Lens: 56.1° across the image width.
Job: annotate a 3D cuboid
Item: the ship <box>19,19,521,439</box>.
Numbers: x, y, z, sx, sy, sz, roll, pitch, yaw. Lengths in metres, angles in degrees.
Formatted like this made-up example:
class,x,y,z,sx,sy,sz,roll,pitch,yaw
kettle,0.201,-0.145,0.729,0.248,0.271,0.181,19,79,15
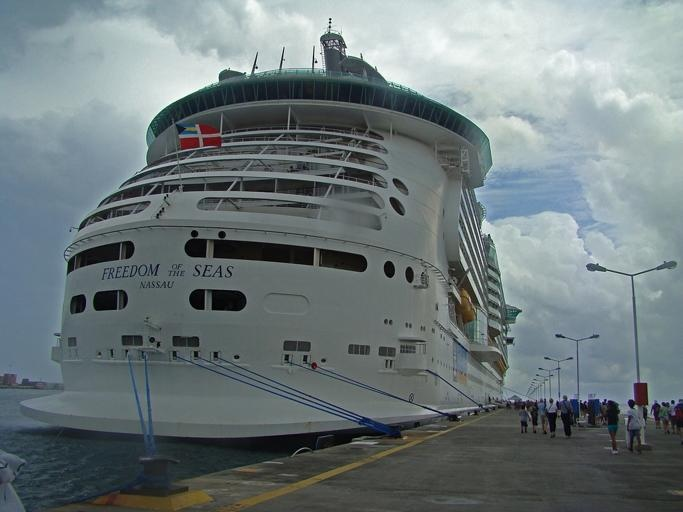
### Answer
class,x,y,z,sx,sy,sz,roll,pitch,yaw
ship,3.081,-3.089,49.995,20.365,21.009,55.788,-5,-5,23

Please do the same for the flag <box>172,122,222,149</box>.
class,x,y,z,sx,sy,sz,roll,pitch,yaw
flag,-6.221,-5.331,28.154,2.762,1.791,0.190,-2,-20,-6
